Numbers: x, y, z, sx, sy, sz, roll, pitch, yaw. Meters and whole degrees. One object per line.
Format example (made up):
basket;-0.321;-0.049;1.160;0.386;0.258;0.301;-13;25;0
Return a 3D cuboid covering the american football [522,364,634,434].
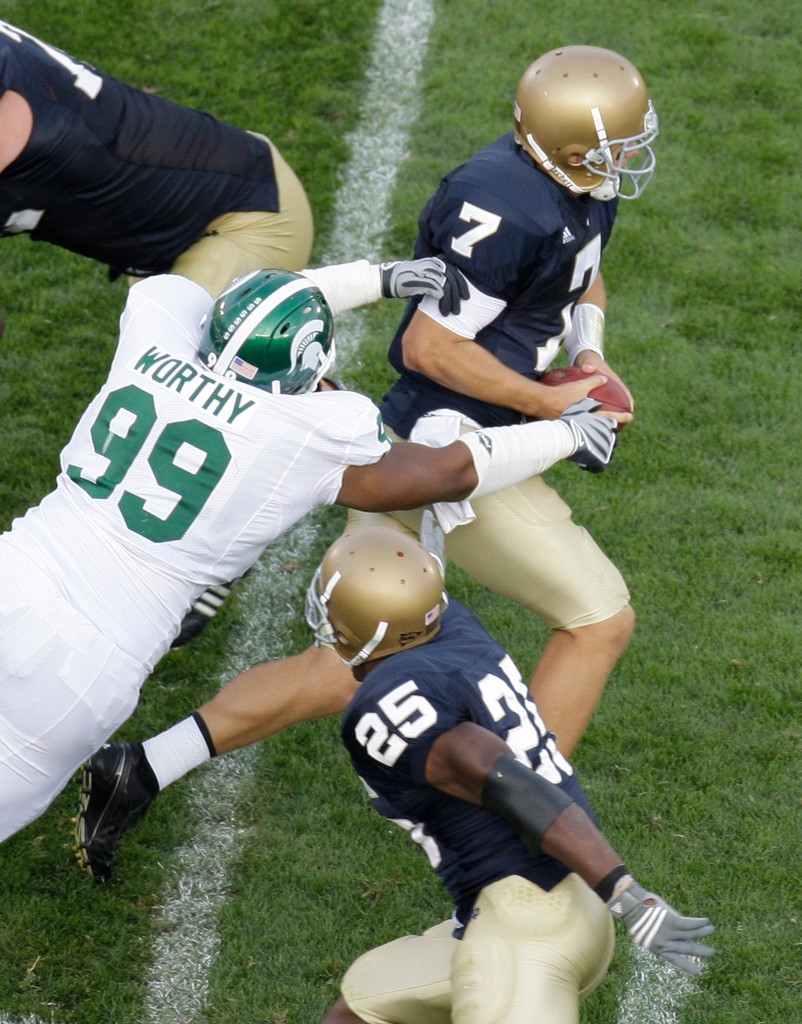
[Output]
american football;0.474;-0.289;3.162;0.237;0.069;0.150;23;27;-13

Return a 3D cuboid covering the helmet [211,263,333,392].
helmet;-0.264;-0.398;2.671;0.223;0.212;0.297;31;47;26

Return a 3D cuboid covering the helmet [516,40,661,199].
helmet;0.442;-0.945;2.942;0.349;0.304;0.335;16;46;5

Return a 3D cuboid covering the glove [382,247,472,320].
glove;0.048;-0.557;2.938;0.235;0.117;0.093;0;-1;24
